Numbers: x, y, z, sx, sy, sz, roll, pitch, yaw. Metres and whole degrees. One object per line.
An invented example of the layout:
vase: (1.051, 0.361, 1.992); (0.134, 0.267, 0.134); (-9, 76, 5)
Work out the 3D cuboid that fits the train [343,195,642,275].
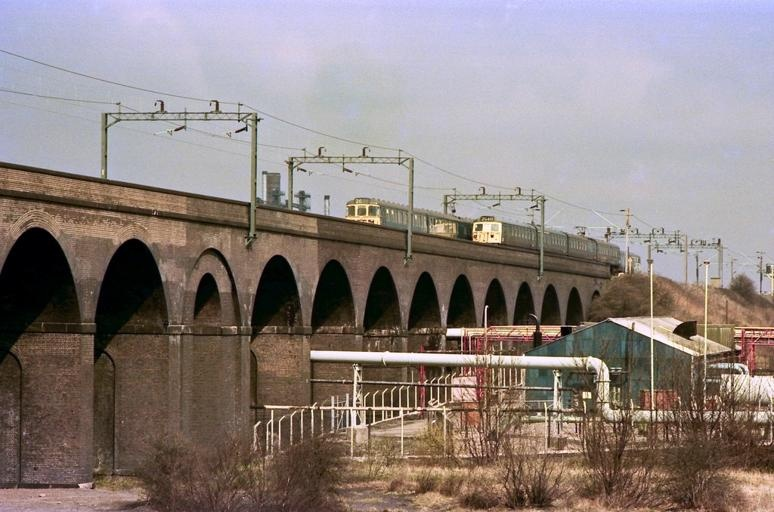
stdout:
train: (4.495, -0.765, 120.817); (2.760, 3.544, 25.797); (-13, -12, 35)
